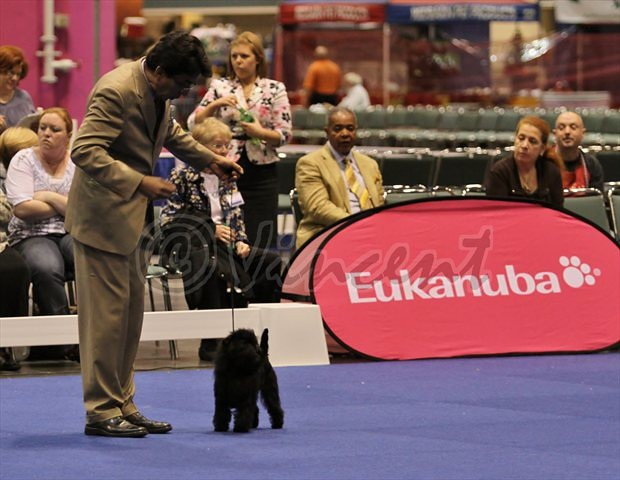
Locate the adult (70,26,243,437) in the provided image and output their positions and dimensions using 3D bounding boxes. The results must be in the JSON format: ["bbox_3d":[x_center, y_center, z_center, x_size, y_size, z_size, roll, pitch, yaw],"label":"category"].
[{"bbox_3d":[-0.874,-0.012,5.468,0.742,2.091,0.941,11,13,39],"label":"adult"}]

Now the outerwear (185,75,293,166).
[{"bbox_3d":[-0.493,-0.849,7.586,0.703,0.648,0.426,1,14,-8],"label":"outerwear"}]

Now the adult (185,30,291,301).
[{"bbox_3d":[-0.488,-0.457,7.595,0.636,1.929,0.594,0,17,-2],"label":"adult"}]

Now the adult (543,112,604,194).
[{"bbox_3d":[2.058,-0.583,8.286,0.568,0.814,0.439,2,-3,6],"label":"adult"}]

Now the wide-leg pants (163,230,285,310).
[{"bbox_3d":[-0.604,0.199,6.904,0.487,0.268,0.662,7,17,-17],"label":"wide-leg pants"}]

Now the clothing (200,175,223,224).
[{"bbox_3d":[-0.640,-0.271,6.999,0.093,0.280,0.195,-6,1,9],"label":"clothing"}]

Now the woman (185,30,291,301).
[{"bbox_3d":[-0.475,-0.466,7.609,0.666,1.903,0.542,1,15,9],"label":"woman"}]

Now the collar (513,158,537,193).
[{"bbox_3d":[1.569,-0.443,7.441,0.127,0.238,0.057,-6,3,-1],"label":"collar"}]

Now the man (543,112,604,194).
[{"bbox_3d":[2.054,-0.586,8.288,0.573,0.823,0.455,2,-2,16],"label":"man"}]

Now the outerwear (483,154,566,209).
[{"bbox_3d":[1.597,-0.331,7.540,0.571,0.502,0.309,-2,4,6],"label":"outerwear"}]

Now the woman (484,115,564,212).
[{"bbox_3d":[1.554,-0.400,7.496,0.541,0.857,0.527,4,0,-3],"label":"woman"}]

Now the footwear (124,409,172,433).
[{"bbox_3d":[-0.832,0.937,5.427,0.275,0.118,0.094,4,-2,-10],"label":"footwear"}]

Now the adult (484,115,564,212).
[{"bbox_3d":[1.544,-0.397,7.497,0.575,0.881,0.525,3,1,-10],"label":"adult"}]

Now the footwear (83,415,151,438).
[{"bbox_3d":[-0.990,0.951,5.393,0.317,0.137,0.119,-1,-5,7],"label":"footwear"}]
